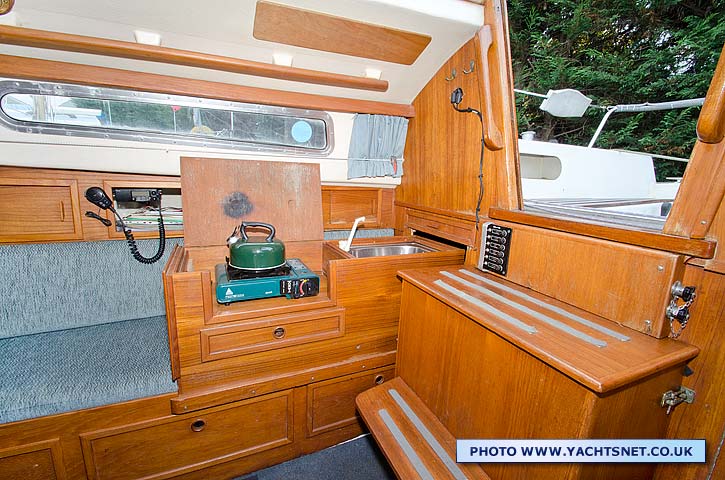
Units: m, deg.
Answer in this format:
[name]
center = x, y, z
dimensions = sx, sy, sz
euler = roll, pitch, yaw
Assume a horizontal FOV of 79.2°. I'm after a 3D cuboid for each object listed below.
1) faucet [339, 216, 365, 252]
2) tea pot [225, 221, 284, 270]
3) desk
[faucet]
center = -0.027, -0.067, 3.188
dimensions = 0.101, 0.162, 0.455
euler = 14, 23, 3
[tea pot]
center = -0.622, 0.041, 2.651
dimensions = 0.373, 0.215, 0.320
euler = 3, 8, 2
[desk]
center = 0.793, 0.613, 2.228
dimensions = 1.330, 0.729, 0.636
euler = 9, 17, 38
